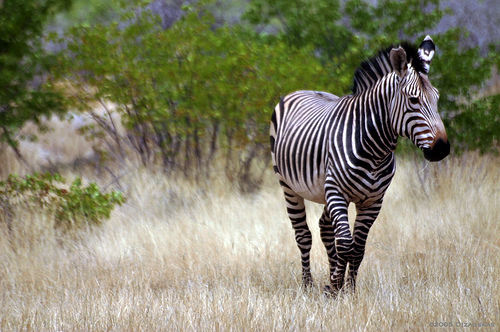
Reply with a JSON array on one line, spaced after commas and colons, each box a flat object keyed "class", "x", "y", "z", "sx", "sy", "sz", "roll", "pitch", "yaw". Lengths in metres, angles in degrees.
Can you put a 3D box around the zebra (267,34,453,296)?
[{"class": "zebra", "x": 1.484, "y": 0.101, "z": 12.541, "sx": 2.300, "sy": 3.367, "sz": 2.291, "roll": 2, "pitch": 44, "yaw": 5}]
